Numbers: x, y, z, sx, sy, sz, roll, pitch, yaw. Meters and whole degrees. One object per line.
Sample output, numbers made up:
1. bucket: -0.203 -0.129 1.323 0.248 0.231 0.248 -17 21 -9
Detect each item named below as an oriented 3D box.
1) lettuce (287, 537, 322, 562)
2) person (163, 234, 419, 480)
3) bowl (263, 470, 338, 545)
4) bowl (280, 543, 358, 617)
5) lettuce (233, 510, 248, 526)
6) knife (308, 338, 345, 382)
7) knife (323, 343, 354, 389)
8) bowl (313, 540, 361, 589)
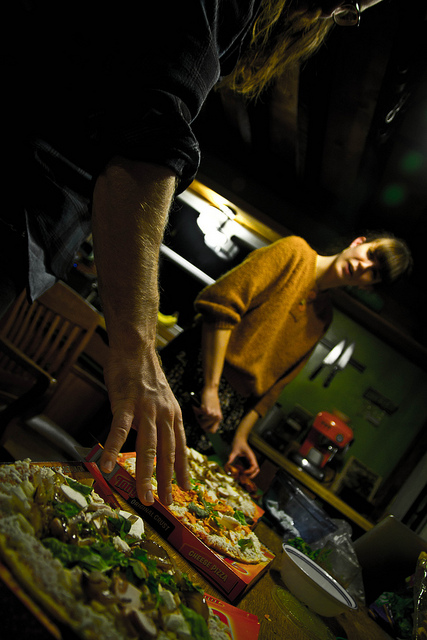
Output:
1. lettuce: 0.211 0.524 1.051 0.048 0.025 0.055 16 2 14
2. person: 0.355 0.175 1.716 0.372 1.266 0.468 45 -15 41
3. bowl: 0.270 0.566 1.392 0.253 0.125 0.199 40 -14 40
4. bowl: 0.180 0.476 0.830 0.131 0.047 0.132 37 -4 3
5. lettuce: 0.056 0.416 0.953 0.028 0.013 0.034 9 -1 6
6. knife: 0.491 0.197 2.026 0.069 0.287 0.022 39 24 -5
7. knife: 0.563 0.202 2.035 0.059 0.281 0.022 52 -26 -12
8. bowl: 0.309 0.584 1.073 0.066 0.069 0.088 62 8 -63
